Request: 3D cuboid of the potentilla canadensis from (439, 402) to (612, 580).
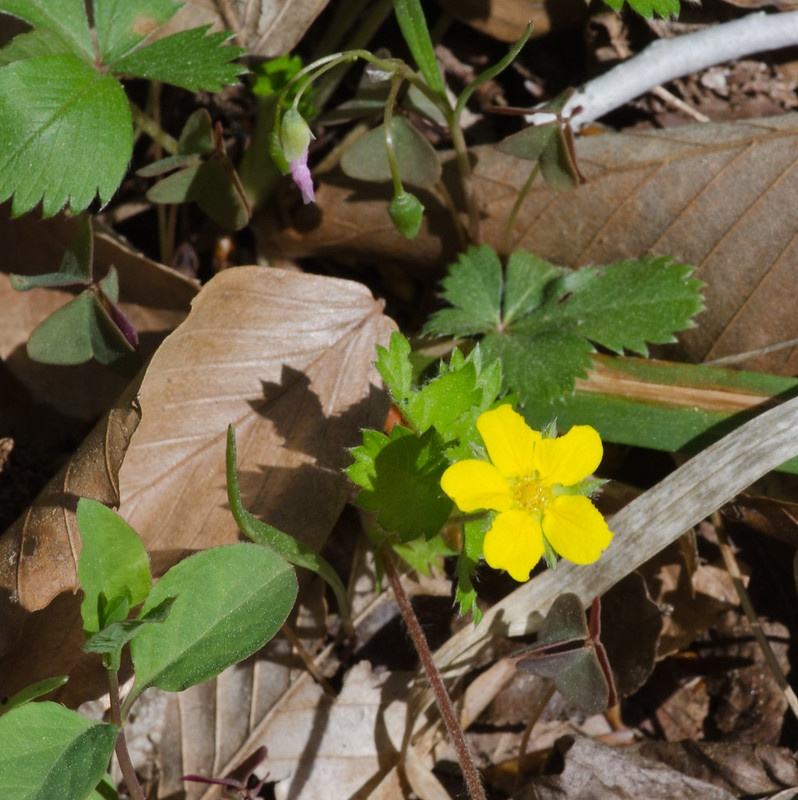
[{"bbox_3d":[0.324,0.217,2.359,0.395,0.376,0.260,-19,25,0],"label":"potentilla canadensis"}]
